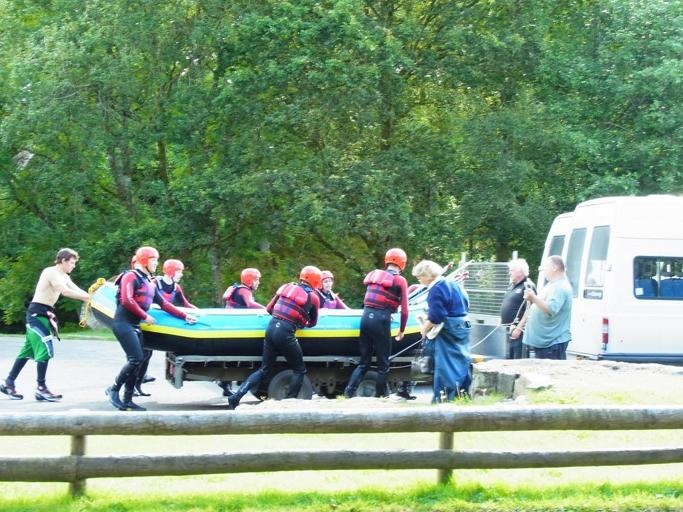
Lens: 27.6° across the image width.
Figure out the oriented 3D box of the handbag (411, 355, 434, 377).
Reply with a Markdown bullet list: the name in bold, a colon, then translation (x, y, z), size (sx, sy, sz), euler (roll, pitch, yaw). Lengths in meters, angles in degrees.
- **handbag**: translation (1.491, 2.107, 26.188), size (0.251, 0.494, 0.600), euler (4, -6, -30)

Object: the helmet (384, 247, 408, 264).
- **helmet**: translation (1.025, 0.051, 26.894), size (0.360, 0.360, 0.492), euler (1, 1, 10)

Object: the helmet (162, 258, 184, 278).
- **helmet**: translation (-3.488, 0.238, 28.177), size (0.483, 0.309, 0.332), euler (-2, 0, 5)

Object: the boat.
- **boat**: translation (-1.583, 1.377, 27.881), size (7.727, 1.292, 2.081), euler (1, -6, -8)

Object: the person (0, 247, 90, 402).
- **person**: translation (-5.934, 1.376, 27.643), size (1.584, 3.037, 1.190), euler (1, 1, -13)

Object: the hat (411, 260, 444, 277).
- **hat**: translation (1.545, 0.254, 25.519), size (0.425, 0.298, 0.345), euler (8, -5, 25)

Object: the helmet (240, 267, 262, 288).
- **helmet**: translation (-1.872, 0.450, 28.026), size (0.509, 0.394, 0.349), euler (-3, 6, -5)

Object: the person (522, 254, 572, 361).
- **person**: translation (3.858, 0.996, 26.335), size (0.865, 1.970, 0.528), euler (2, 1, 6)

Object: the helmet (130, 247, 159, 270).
- **helmet**: translation (-3.820, 0.022, 26.753), size (0.510, 0.329, 0.362), euler (0, 4, 3)
